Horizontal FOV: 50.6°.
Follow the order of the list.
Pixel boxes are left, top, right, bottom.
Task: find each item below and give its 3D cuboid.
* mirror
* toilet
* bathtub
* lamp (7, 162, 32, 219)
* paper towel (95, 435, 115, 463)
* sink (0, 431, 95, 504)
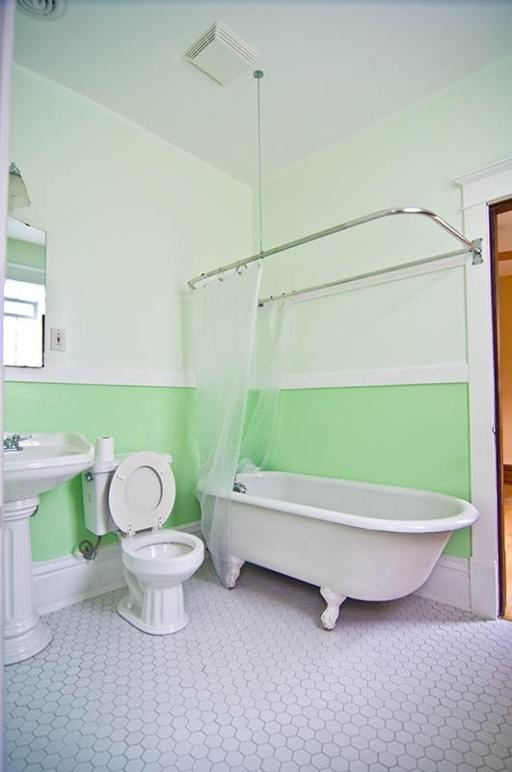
[{"bbox_3d":[-1.000,-0.387,2.297,0.114,0.631,0.246,2,5,25],"label":"mirror"},{"bbox_3d":[-0.462,0.610,2.331,0.617,0.757,0.371,5,7,42],"label":"toilet"},{"bbox_3d":[0.352,0.705,2.466,1.279,0.508,0.654,4,6,43],"label":"bathtub"},{"bbox_3d":[-0.971,-0.814,2.208,0.083,0.219,0.219,-2,5,-23],"label":"lamp"},{"bbox_3d":[-0.662,0.284,2.380,0.092,0.114,0.094,2,-3,-25],"label":"paper towel"},{"bbox_3d":[-0.743,0.285,1.939,0.244,0.137,0.321,4,9,39],"label":"sink"}]
